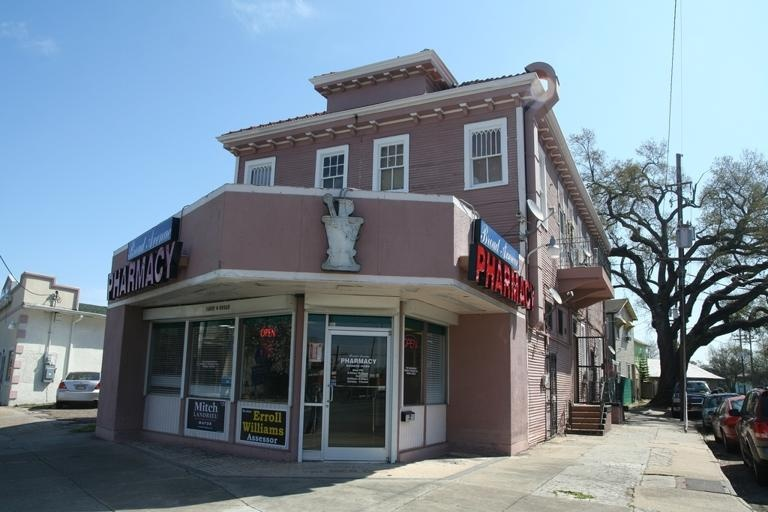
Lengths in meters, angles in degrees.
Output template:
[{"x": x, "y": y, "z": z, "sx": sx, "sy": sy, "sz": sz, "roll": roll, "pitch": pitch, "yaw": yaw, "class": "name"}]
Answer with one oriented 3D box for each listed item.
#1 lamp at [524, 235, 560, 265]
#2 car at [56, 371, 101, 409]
[{"x": 5.213, "y": -0.218, "z": 18.693, "sx": 0.556, "sy": 0.588, "sz": 1.371, "roll": 19, "pitch": -31, "yaw": -29, "class": "lamp"}, {"x": -14.912, "y": 6.426, "z": 27.383, "sx": 1.776, "sy": 1.414, "sz": 2.922, "roll": 4, "pitch": -4, "yaw": -30, "class": "car"}]
